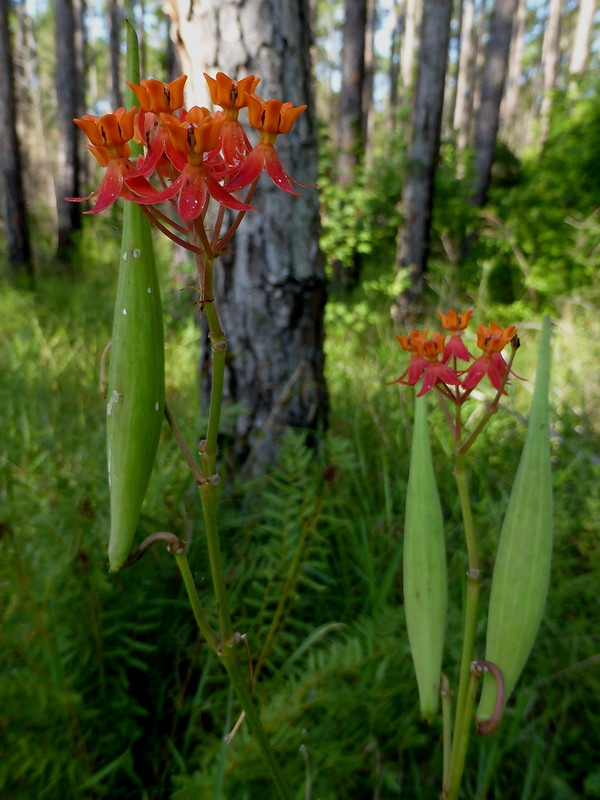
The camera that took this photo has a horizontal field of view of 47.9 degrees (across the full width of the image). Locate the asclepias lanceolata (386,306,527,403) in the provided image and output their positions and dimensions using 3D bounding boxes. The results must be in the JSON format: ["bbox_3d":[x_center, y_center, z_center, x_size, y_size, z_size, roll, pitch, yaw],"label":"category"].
[{"bbox_3d":[0.257,-0.097,1.131,0.180,0.148,0.180,-8,18,-18],"label":"asclepias lanceolata"}]

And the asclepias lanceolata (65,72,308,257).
[{"bbox_3d":[-0.136,-0.309,0.925,0.292,0.258,0.291,16,26,32],"label":"asclepias lanceolata"}]
